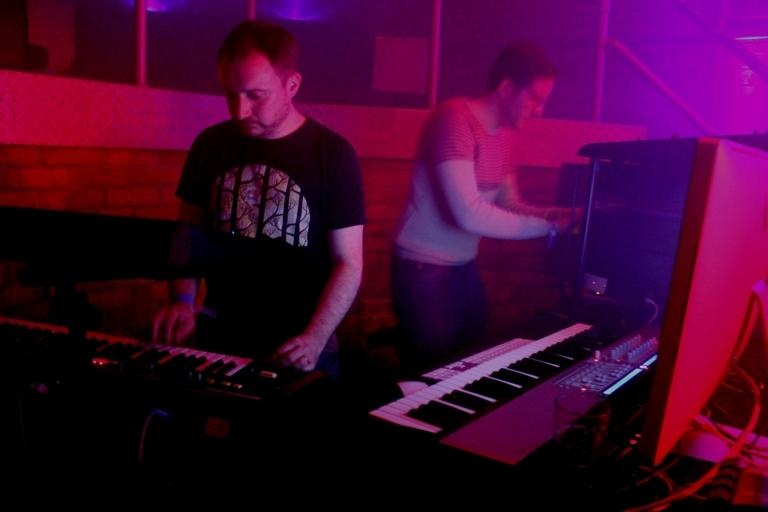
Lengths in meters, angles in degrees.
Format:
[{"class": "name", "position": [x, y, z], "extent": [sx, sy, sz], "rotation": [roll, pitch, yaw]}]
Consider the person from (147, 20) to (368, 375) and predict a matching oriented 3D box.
[{"class": "person", "position": [-0.290, -0.189, 2.033], "extent": [0.412, 1.060, 0.803], "rotation": [-4, 15, -43]}]

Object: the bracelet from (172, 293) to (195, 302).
[{"class": "bracelet", "position": [-0.636, 0.132, 2.032], "extent": [0.032, 0.032, 0.034], "rotation": [4, 4, 21]}]

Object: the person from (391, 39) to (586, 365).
[{"class": "person", "position": [0.379, -0.185, 2.527], "extent": [0.649, 1.265, 0.275], "rotation": [1, 12, -26]}]

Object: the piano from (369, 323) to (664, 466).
[{"class": "piano", "position": [0.406, 0.323, 1.698], "extent": [0.407, 0.167, 0.883], "rotation": [16, 15, 38]}]
